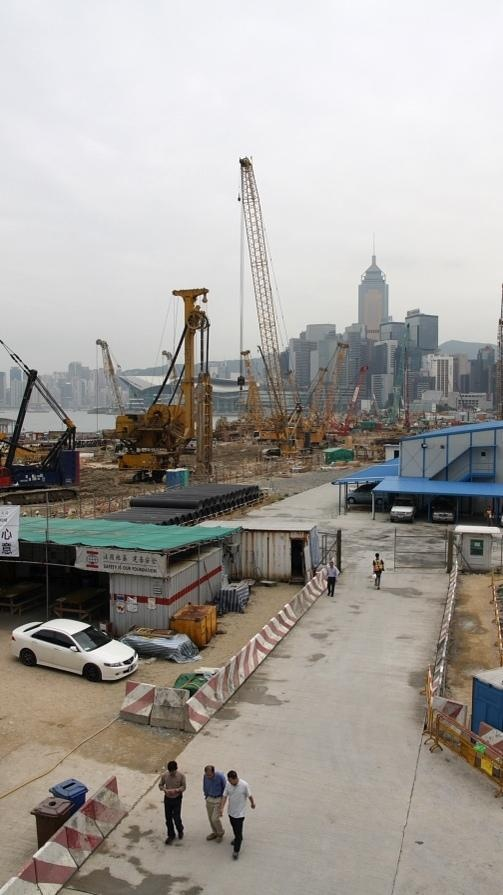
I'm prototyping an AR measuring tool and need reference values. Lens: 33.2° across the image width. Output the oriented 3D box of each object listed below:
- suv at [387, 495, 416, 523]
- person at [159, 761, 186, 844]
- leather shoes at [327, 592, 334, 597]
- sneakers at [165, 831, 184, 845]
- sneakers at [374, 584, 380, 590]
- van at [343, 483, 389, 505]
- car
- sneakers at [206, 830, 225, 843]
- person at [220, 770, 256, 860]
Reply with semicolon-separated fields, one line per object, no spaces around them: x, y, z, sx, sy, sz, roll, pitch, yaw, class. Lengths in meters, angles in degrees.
7.295;2.981;40.814;1.024;1.034;2.514;-1;0;14;suv
-1.090;4.757;11.533;0.329;1.136;0.686;-1;4;-6;person
2.260;4.175;24.189;0.181;0.128;0.297;0;4;0;leather shoes
-1.050;5.310;11.465;0.272;0.258;0.100;12;-19;-27;sneakers
3.749;4.079;25.164;0.146;0.162;0.459;0;4;5;sneakers
6.084;2.643;46.648;1.817;1.094;1.179;2;2;7;van
-3.823;4.295;18.202;2.613;0.944;1.152;4;9;24;car
-0.484;5.287;11.464;0.205;0.212;0.098;7;-6;6;sneakers
-0.152;4.751;11.026;0.425;1.025;0.386;-4;5;-17;person
